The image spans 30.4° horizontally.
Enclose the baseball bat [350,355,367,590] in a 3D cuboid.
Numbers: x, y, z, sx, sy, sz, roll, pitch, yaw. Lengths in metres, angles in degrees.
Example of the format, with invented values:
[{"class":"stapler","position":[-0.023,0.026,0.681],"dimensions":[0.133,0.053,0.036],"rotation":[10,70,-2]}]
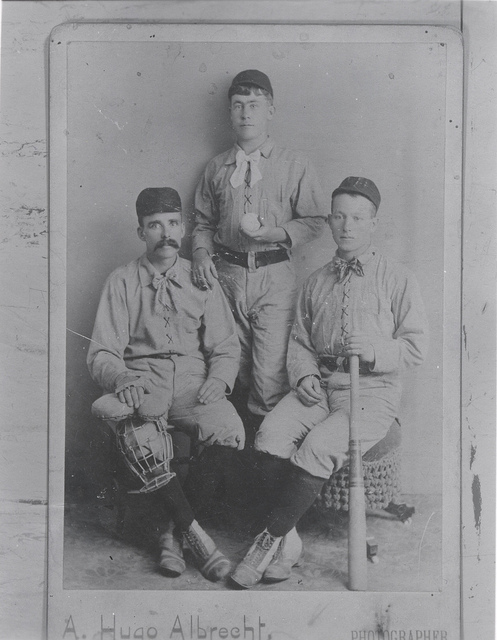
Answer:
[{"class":"baseball bat","position":[0.359,0.496,2.967],"dimensions":[0.062,0.757,0.064],"rotation":[1,2,3]}]

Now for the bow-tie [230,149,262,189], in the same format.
[{"class":"bow-tie","position":[-0.007,-0.495,3.030],"dimensions":[0.134,0.153,0.024],"rotation":[3,-8,1]}]

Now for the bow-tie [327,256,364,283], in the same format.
[{"class":"bow-tie","position":[0.327,-0.163,3.015],"dimensions":[0.096,0.086,0.033],"rotation":[-9,-2,10]}]

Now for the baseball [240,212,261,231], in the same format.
[{"class":"baseball","position":[0.006,-0.330,3.056],"dimensions":[0.062,0.047,0.063],"rotation":[28,-19,47]}]

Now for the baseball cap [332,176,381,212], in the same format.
[{"class":"baseball cap","position":[0.370,-0.424,3.020],"dimensions":[0.101,0.118,0.064],"rotation":[9,20,19]}]
